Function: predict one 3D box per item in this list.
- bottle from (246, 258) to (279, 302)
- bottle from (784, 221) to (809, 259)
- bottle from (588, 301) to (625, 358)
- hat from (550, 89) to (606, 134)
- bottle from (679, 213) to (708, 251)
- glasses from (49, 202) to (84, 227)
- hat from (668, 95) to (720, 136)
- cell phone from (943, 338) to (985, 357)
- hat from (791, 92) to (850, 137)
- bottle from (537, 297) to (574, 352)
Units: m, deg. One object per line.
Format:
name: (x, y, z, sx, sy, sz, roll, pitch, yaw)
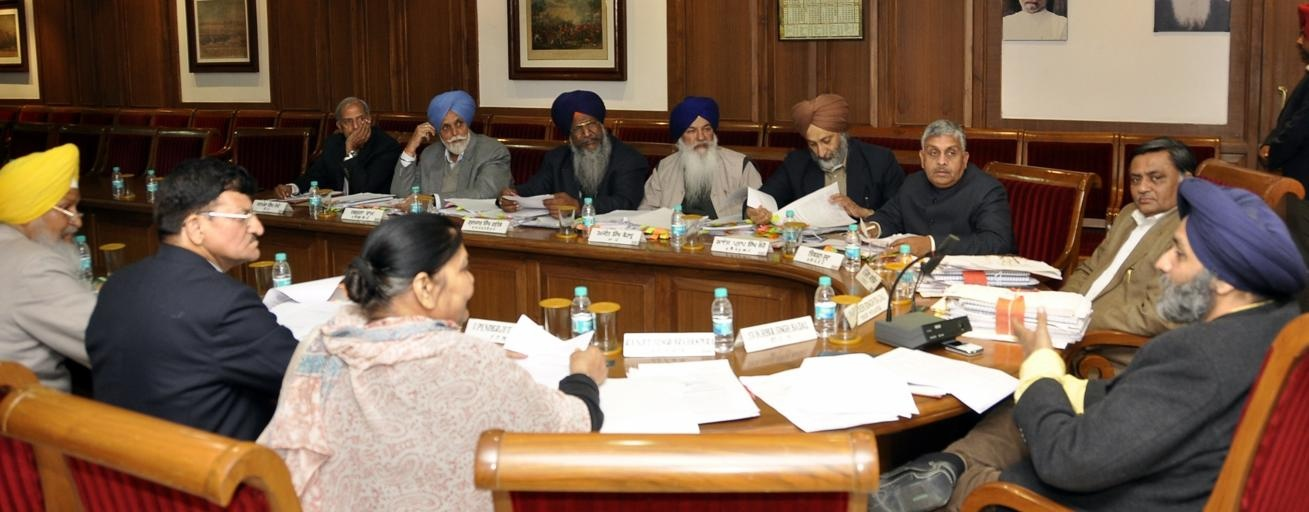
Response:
bottle: (-3.567, 0.214, 7.347, 0.243, 0.246, 0.219, -13, -10, 15)
bottle: (1.239, -0.165, 7.408, 0.249, 0.231, 0.232, 2, -1, -39)
bottle: (-0.323, 0.537, 6.443, 0.393, 0.385, 0.380, -6, 15, -17)
hat: (-0.870, -1.686, 9.205, 0.650, 0.459, 0.509, -5, 2, 4)
bottle: (0.359, -0.175, 7.714, 0.202, 0.247, 0.241, -1, -16, 34)
glasses: (-4.863, -0.347, 6.700, 0.201, 0.179, 0.058, -26, 3, -30)
hat: (0.430, -1.535, 8.905, 0.580, 0.431, 0.405, 7, 6, 7)
cell phone: (2.356, 0.667, 6.171, 0.134, 0.063, 0.217, -20, 22, -40)
hat: (1.795, -1.516, 8.492, 0.408, 0.317, 0.503, -13, 9, -28)
bottle: (-0.802, 0.504, 6.662, 0.340, 0.450, 0.319, 0, 6, 0)
